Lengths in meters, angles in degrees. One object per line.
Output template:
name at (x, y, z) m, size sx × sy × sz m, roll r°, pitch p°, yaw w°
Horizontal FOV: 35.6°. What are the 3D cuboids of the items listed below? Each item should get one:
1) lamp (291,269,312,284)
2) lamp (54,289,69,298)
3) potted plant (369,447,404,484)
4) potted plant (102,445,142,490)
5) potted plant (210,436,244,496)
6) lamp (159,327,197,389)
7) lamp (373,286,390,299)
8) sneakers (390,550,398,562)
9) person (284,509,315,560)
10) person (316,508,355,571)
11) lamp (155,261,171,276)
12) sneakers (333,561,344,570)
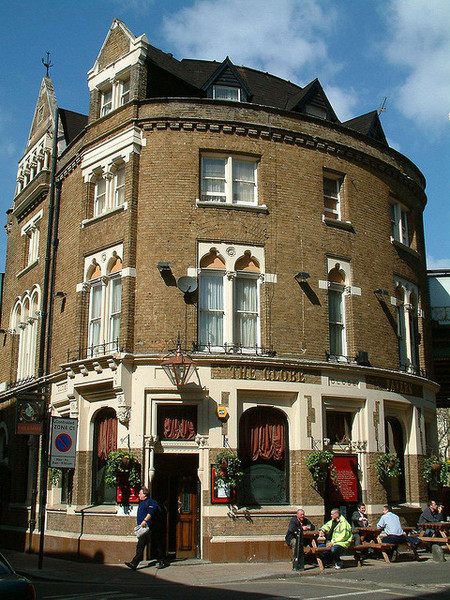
lamp at (2.258, -0.681, 20.181) m, size 0.546 × 0.385 × 0.286 m, roll 8°, pitch -18°, yaw -28°
lamp at (-5.295, -0.202, 22.665) m, size 0.252 × 0.269 × 0.389 m, roll -18°, pitch -26°, yaw 38°
potted plant at (4.637, 4.810, 20.199) m, size 0.772 × 0.886 × 0.486 m, roll 14°, pitch -22°, yaw -42°
potted plant at (-2.540, 4.218, 17.601) m, size 0.800 × 0.919 × 0.602 m, roll 5°, pitch -17°, yaw -21°
potted plant at (-0.148, 4.217, 17.894) m, size 0.870 × 0.918 × 1.643 m, roll -8°, pitch 13°, yaw 16°
lamp at (-1.170, 1.482, 18.121) m, size 0.717 × 1.461 × 0.702 m, roll -2°, pitch -8°, yaw -5°
lamp at (5.023, -0.229, 22.367) m, size 0.312 × 0.418 × 0.727 m, roll -14°, pitch -20°, yaw 36°
sneakers at (4.197, 6.346, 17.388) m, size 0.135 × 0.410 × 0.274 m, roll 0°, pitch 3°, yaw 8°
person at (1.756, 5.506, 16.522) m, size 0.671 × 1.112 × 1.693 m, roll -3°, pitch -16°, yaw 5°
person at (2.596, 5.680, 16.784) m, size 0.851 × 1.300 × 1.577 m, roll -3°, pitch -16°, yaw 7°
lamp at (-1.657, -0.875, 18.987) m, size 0.382 × 0.384 × 0.322 m, roll 1°, pitch -16°, yaw -7°
sneakers at (2.579, 6.073, 16.080) m, size 0.112 × 0.139 × 0.148 m, roll 7°, pitch 4°, yaw 13°
